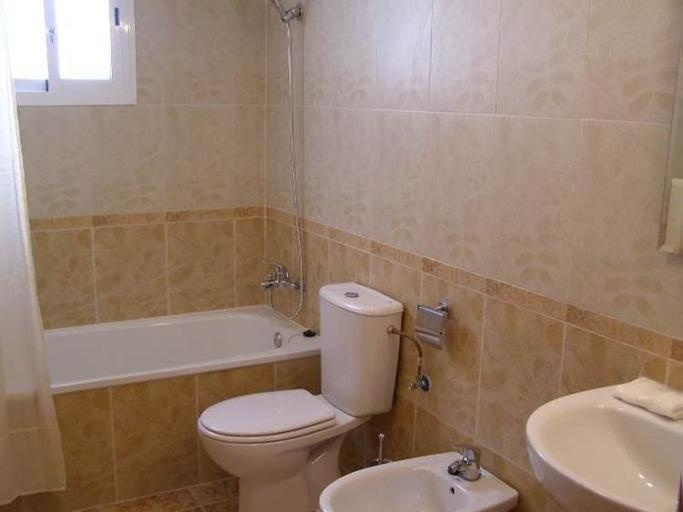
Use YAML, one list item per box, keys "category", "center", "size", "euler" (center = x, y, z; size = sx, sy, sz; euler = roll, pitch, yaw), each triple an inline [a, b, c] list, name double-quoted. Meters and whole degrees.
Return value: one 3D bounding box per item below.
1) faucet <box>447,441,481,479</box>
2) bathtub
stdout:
- category: "faucet"
  center: [0.503, 0.835, 2.477]
  size: [0.106, 0.132, 0.137]
  euler: [8, 14, 39]
- category: "bathtub"
  center: [-1.085, 0.538, 3.607]
  size: [1.014, 0.229, 0.635]
  euler: [-2, 8, -27]
